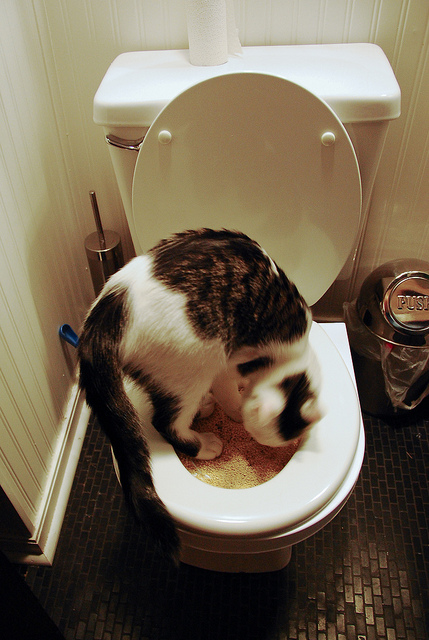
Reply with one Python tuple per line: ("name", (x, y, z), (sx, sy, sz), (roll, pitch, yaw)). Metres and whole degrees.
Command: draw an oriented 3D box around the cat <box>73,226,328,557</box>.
("cat", (-0.037, 0.080, 0.677), (0.385, 0.186, 0.313), (-25, 77, -49))
